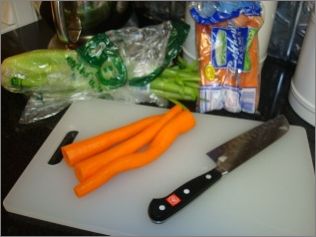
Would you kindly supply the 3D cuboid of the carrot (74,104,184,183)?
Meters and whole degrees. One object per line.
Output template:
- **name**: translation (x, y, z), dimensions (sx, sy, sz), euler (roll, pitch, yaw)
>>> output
- **carrot**: translation (-0.034, 0.047, 0.909), dimensions (0.103, 0.084, 0.540), euler (25, 46, 31)
